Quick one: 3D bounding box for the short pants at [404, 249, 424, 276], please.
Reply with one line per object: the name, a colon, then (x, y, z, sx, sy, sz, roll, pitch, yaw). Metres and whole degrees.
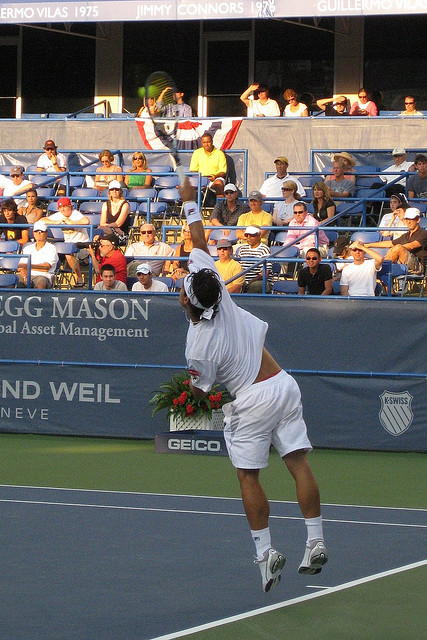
short pants: (2.114, -0.612, 11.087, 0.203, 0.259, 0.119, -1, 7, 2)

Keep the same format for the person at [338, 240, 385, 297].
person: (1.529, -0.532, 10.849, 0.476, 0.564, 0.724, 0, 7, 8)

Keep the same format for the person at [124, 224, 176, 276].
person: (-0.780, -0.811, 12.366, 0.659, 0.869, 0.436, -3, -21, -2)

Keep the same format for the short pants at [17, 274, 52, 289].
short pants: (-1.998, -0.415, 11.747, 0.264, 0.178, 0.089, 3, -9, 17)

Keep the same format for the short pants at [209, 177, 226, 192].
short pants: (0.045, -1.897, 14.654, 0.227, 0.199, 0.429, -1, 7, -1)

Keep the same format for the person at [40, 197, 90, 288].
person: (-1.899, -1.023, 13.441, 0.622, 1.095, 2.039, -2, 7, -9)

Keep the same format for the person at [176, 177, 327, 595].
person: (0.228, 0.544, 5.527, 0.552, 1.613, 0.732, -7, 9, -37)

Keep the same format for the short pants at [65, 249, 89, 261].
short pants: (-1.673, -0.787, 12.817, 0.186, 0.132, 0.571, 0, 7, 6)

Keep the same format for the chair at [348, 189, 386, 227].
chair: (2.014, -1.515, 13.722, 0.490, 0.539, 0.398, 2, 11, 22)
